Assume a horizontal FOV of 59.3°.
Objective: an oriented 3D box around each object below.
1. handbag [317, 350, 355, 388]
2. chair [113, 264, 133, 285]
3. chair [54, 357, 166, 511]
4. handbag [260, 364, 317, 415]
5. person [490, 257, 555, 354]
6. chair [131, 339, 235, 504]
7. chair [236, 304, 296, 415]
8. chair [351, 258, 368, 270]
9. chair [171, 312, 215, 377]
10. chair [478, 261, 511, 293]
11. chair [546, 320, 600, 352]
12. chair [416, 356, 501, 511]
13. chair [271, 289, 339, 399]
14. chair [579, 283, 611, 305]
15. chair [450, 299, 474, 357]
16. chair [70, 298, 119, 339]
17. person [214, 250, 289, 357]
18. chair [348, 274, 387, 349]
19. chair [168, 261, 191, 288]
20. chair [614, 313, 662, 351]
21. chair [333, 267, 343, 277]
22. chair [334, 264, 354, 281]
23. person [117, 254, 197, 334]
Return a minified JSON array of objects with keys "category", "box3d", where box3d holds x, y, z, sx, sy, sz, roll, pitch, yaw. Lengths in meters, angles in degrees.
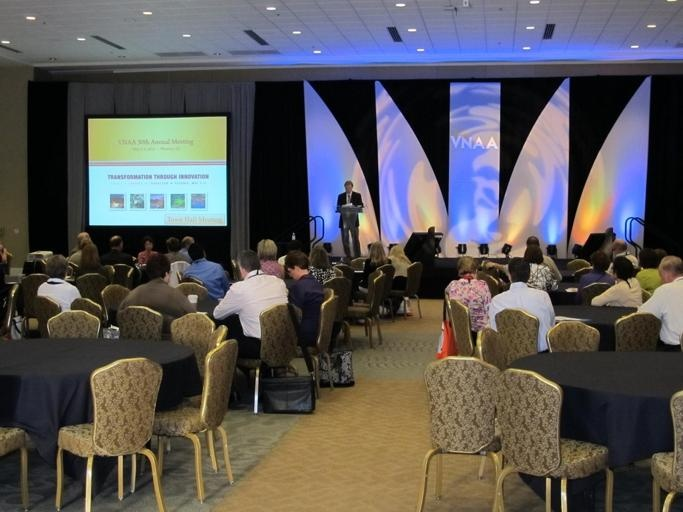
[{"category":"handbag","box3d":[-0.053,1.122,6.643,0.387,0.464,0.450,-2,29,-4]},{"category":"chair","box3d":[-3.246,0.282,8.867,0.225,0.331,0.251,2,-3,-20]},{"category":"chair","box3d":[-1.410,1.061,3.576,0.637,0.958,0.331,2,4,23]},{"category":"handbag","box3d":[-0.487,1.199,5.672,0.419,0.352,0.343,0,2,1]},{"category":"person","box3d":[1.584,0.499,5.286,0.541,1.163,0.572,-5,30,12]},{"category":"chair","box3d":[-1.036,1.070,4.036,0.548,0.994,0.556,2,-1,21]},{"category":"chair","box3d":[-0.658,0.956,5.684,0.472,0.972,0.588,0,-5,-11]},{"category":"chair","box3d":[0.321,0.161,11.529,0.201,0.322,0.243,0,-4,8]},{"category":"chair","box3d":[-1.154,0.693,4.695,0.331,0.645,0.420,0,-2,12]},{"category":"chair","box3d":[2.104,0.296,8.295,0.287,0.571,0.288,-8,16,-29]},{"category":"chair","box3d":[1.806,0.640,4.688,0.256,0.403,0.264,0,-1,2]},{"category":"chair","box3d":[0.730,1.082,3.669,0.482,1.055,0.659,1,4,16]},{"category":"chair","box3d":[-0.342,0.897,6.136,0.531,0.963,0.547,3,4,30]},{"category":"chair","box3d":[2.820,0.396,6.698,0.205,0.360,0.258,4,15,15]},{"category":"chair","box3d":[1.140,0.710,5.664,0.217,0.549,0.578,1,4,6]},{"category":"chair","box3d":[-2.254,0.578,5.428,0.293,0.623,0.352,0,0,-15]},{"category":"person","box3d":[-0.914,0.634,5.977,0.730,1.480,0.824,2,25,-8]},{"category":"chair","box3d":[0.310,0.756,8.544,0.531,1.033,0.566,4,2,19]},{"category":"chair","box3d":[-2.136,0.262,7.824,0.241,0.474,0.295,1,5,-3]},{"category":"chair","box3d":[2.449,0.633,4.936,0.237,0.528,0.283,0,7,2]},{"category":"chair","box3d":[-0.065,0.245,9.016,0.104,0.159,0.115,0,0,-32]},{"category":"chair","box3d":[0.028,0.257,9.273,0.202,0.336,0.240,0,1,-14]},{"category":"person","box3d":[-1.690,0.435,5.525,0.725,0.846,0.435,-4,-10,12]}]
